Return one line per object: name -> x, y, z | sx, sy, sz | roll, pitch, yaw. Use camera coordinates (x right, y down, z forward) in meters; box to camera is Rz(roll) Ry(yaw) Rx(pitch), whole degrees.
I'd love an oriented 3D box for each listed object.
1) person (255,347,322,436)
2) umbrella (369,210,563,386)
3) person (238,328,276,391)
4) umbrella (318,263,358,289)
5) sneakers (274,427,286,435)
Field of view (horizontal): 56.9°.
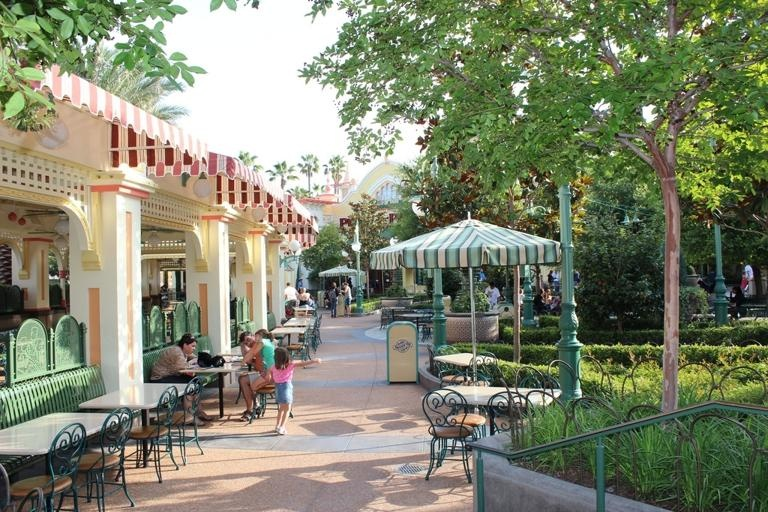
person -> -1.671, 2.229, 11.925 | 0.659, 1.397, 0.920 | -1, -6, -9
umbrella -> 1.259, 0.575, 10.485 | 1.985, 2.538, 1.790 | 1, -7, -24
person -> -2.357, 1.951, 13.163 | 0.852, 1.496, 0.597 | 0, -47, -6
umbrella -> -2.637, 1.060, 41.932 | 2.059, 0.811, 1.893 | 0, 0, 16
sneakers -> -1.683, 2.825, 11.518 | 0.194, 0.117, 0.175 | -2, -7, -1
